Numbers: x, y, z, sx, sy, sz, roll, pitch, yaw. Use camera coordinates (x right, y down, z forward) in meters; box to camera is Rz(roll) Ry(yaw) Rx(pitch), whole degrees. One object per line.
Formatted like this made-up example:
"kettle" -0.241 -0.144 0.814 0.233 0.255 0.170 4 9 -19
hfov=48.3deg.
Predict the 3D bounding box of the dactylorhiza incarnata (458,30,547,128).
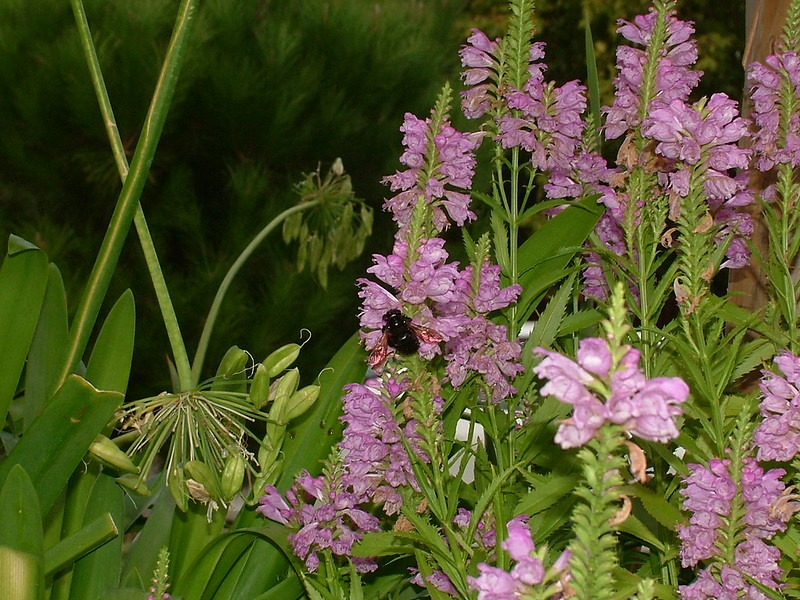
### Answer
"dactylorhiza incarnata" 0.158 -0.371 1.421 0.136 0.148 0.066 19 14 -19

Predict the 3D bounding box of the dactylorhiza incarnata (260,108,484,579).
"dactylorhiza incarnata" -0.045 0.072 1.339 0.292 0.693 0.363 5 18 4
